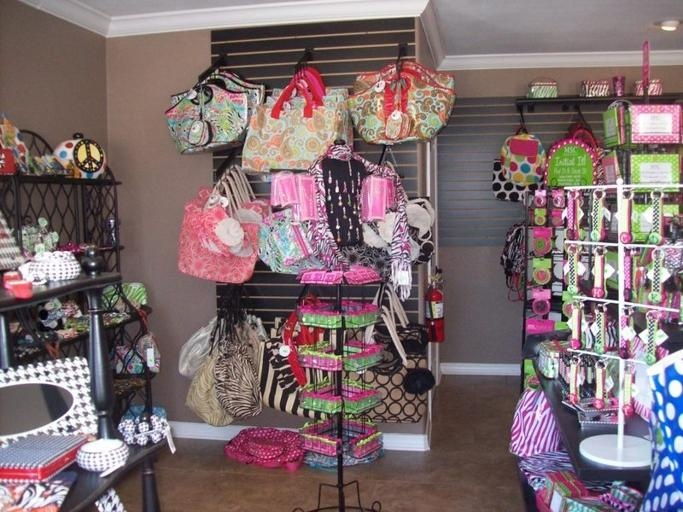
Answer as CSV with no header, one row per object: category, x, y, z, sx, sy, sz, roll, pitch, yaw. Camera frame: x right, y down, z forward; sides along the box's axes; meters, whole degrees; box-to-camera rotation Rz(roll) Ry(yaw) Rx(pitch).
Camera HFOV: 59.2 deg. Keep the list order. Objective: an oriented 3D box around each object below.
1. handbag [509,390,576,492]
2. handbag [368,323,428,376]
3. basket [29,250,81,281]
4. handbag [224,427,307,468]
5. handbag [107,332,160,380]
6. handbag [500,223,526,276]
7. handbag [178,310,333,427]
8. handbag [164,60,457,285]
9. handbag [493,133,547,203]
handbag,1.028,1.006,3.225,0.260,0.489,0.132,-9,-1,36
handbag,0.383,0.662,4.314,0.405,0.500,0.287,0,-3,-14
basket,-1.167,0.036,2.451,0.190,0.115,0.147,-5,9,-27
handbag,-0.558,1.437,4.454,0.371,0.073,0.288,5,20,22
handbag,-1.460,0.685,4.289,0.365,0.407,0.269,2,0,14
handbag,1.644,-0.066,5.765,0.176,0.526,0.378,-1,4,-2
handbag,-0.663,1.024,4.428,0.718,0.985,0.435,-31,-38,-3
handbag,-0.347,-0.559,4.093,1.933,1.524,0.615,1,7,10
handbag,1.747,-0.884,5.937,0.519,0.799,0.245,3,13,15
